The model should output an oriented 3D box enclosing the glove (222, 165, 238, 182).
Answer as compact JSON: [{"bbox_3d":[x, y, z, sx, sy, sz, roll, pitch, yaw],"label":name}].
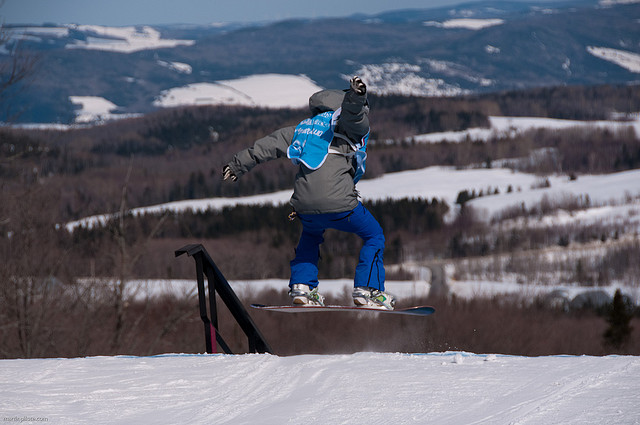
[{"bbox_3d":[-1.799,-0.764,25.669,0.408,0.153,0.179,37,23,-1],"label":"glove"}]

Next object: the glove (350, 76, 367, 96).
[{"bbox_3d":[0.721,-2.393,24.867,0.211,0.356,0.150,-31,20,3],"label":"glove"}]
